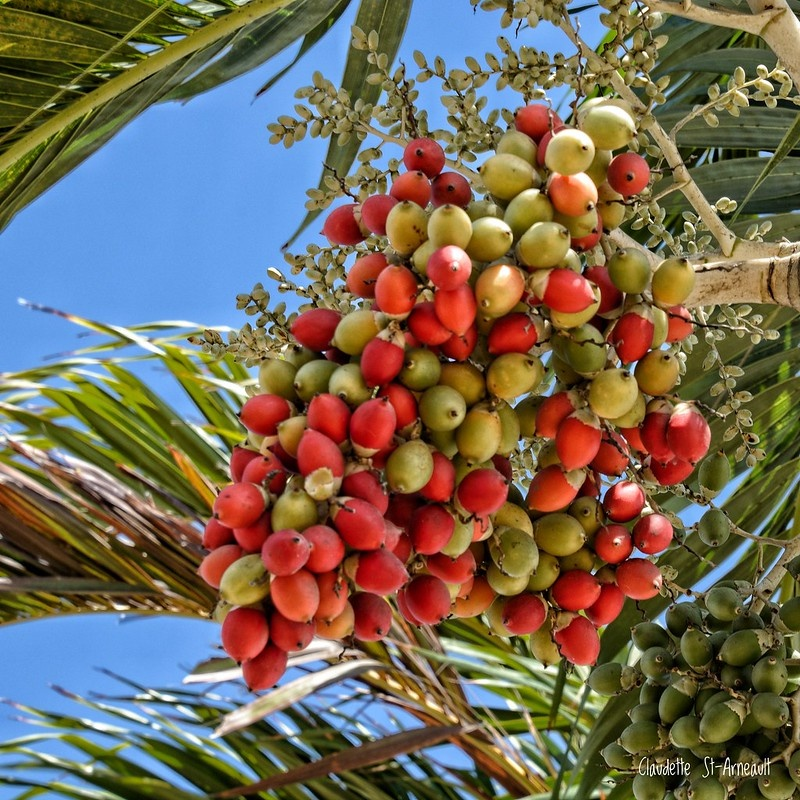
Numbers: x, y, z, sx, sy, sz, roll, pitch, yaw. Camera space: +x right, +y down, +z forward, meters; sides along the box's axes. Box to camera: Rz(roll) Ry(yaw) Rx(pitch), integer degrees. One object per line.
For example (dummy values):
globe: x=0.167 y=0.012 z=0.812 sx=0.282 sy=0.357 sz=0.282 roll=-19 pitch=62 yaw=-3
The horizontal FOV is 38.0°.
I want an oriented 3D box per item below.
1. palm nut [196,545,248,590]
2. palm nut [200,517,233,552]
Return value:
palm nut: x=-0.292 y=0.265 z=1.881 sx=0.087 sy=0.048 sz=0.055 roll=-29 pitch=-17 yaw=-28
palm nut: x=-0.301 y=0.215 z=1.901 sx=0.041 sy=0.036 sz=0.060 roll=-13 pitch=48 yaw=4
